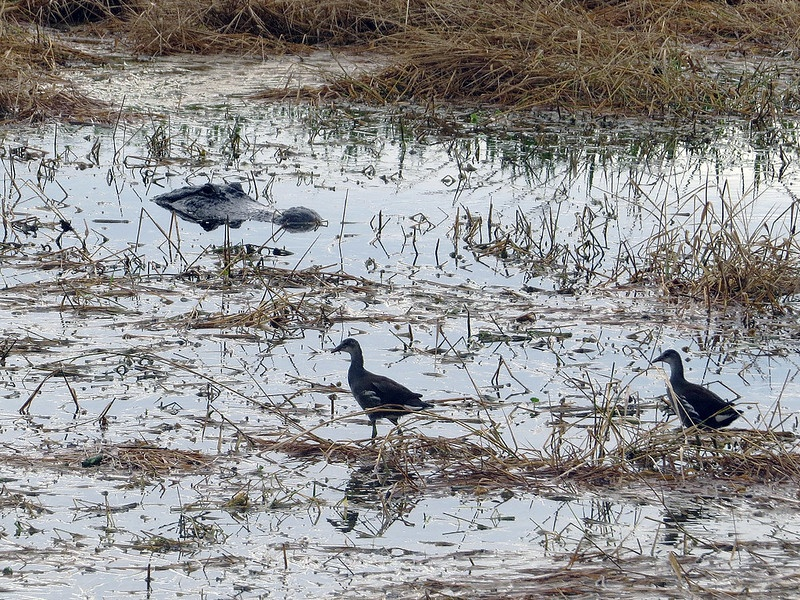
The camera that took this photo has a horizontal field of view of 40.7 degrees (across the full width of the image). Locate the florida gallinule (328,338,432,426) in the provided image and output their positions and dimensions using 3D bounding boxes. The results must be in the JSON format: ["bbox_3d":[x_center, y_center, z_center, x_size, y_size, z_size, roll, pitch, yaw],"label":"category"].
[{"bbox_3d":[-0.073,0.565,7.207,0.528,0.521,0.561,0,12,-6],"label":"florida gallinule"}]

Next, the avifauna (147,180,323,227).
[{"bbox_3d":[-1.716,-0.956,11.058,1.631,0.442,0.752,9,13,41],"label":"avifauna"}]

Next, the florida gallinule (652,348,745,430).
[{"bbox_3d":[1.989,0.609,7.209,0.411,0.485,0.525,-1,12,-10],"label":"florida gallinule"}]
